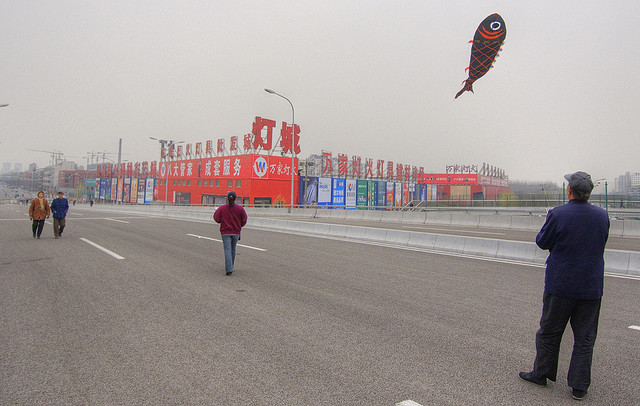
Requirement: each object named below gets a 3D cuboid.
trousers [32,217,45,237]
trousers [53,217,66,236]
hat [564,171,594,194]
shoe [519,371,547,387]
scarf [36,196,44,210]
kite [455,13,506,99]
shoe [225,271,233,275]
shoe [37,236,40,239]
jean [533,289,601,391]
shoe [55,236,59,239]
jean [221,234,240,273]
[{"bbox_3d":[-11.414,0.923,16.785,0.573,0.837,0.304,8,13,35],"label":"trousers"},{"bbox_3d":[-10.692,0.944,17.014,0.402,0.733,0.638,-6,13,-34],"label":"trousers"},{"bbox_3d":[3.936,-0.314,6.295,0.354,0.317,0.220,8,13,31],"label":"hat"},{"bbox_3d":[3.191,2.675,6.256,0.383,0.174,0.141,16,3,37],"label":"shoe"},{"bbox_3d":[-10.975,0.036,16.271,0.259,0.392,0.199,1,15,-18],"label":"scarf"},{"bbox_3d":[12.293,-11.329,31.002,1.099,5.140,3.446,-2,11,-13],"label":"kite"},{"bbox_3d":[-2.382,1.829,10.765,0.176,0.087,0.120,-1,11,-11],"label":"shoe"},{"bbox_3d":[-11.296,1.397,16.617,0.078,0.083,0.082,-1,1,-6],"label":"shoe"},{"bbox_3d":[3.693,2.074,6.189,0.827,1.381,0.540,6,11,26],"label":"jean"},{"bbox_3d":[-10.670,1.390,16.780,0.153,0.087,0.037,-1,-5,13],"label":"shoe"},{"bbox_3d":[-2.360,1.293,10.955,0.415,1.047,0.673,-2,11,-16],"label":"jean"}]
